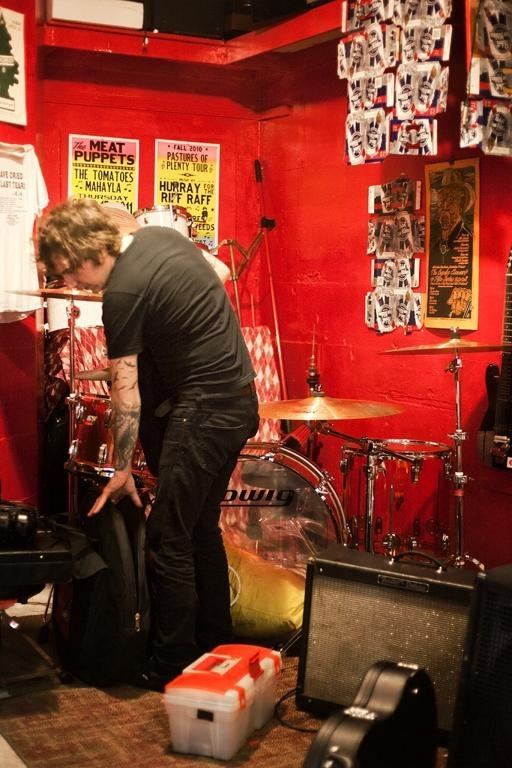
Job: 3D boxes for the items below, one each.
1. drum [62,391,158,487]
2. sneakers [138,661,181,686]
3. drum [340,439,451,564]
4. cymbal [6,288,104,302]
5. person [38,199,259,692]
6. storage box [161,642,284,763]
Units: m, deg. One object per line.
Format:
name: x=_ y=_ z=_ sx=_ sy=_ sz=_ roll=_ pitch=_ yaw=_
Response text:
drum: x=-0.528 y=0.198 z=2.288 sx=0.339 sy=0.253 sz=0.339 roll=1 pitch=-2 yaw=0
sneakers: x=-0.278 y=0.833 z=1.792 sx=0.127 sy=0.093 sz=0.047 roll=-3 pitch=14 yaw=7
drum: x=0.625 y=0.476 z=2.873 sx=0.534 sy=0.537 sz=0.540 roll=0 pitch=0 yaw=15
cymbal: x=-0.883 y=-0.386 z=2.646 sx=0.260 sy=0.029 sz=0.251 roll=2 pitch=2 yaw=43
person: x=-0.286 y=0.184 z=1.794 sx=0.629 sy=1.394 sz=0.345 roll=-2 pitch=5 yaw=-34
storage box: x=-0.089 y=0.717 z=1.483 sx=0.202 sy=0.226 sz=0.339 roll=1 pitch=4 yaw=15
